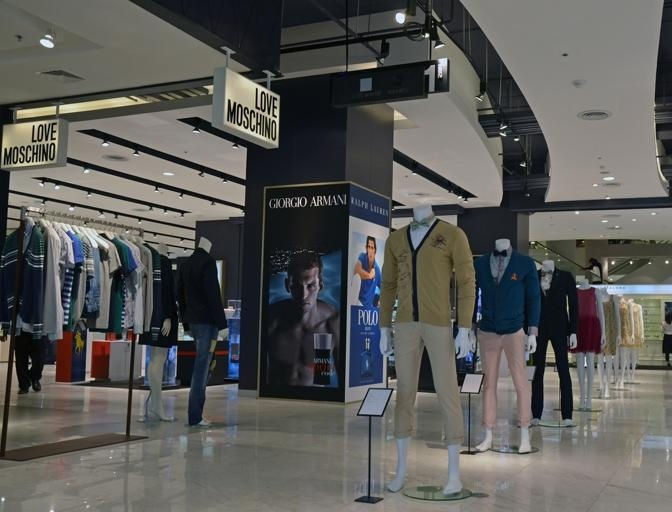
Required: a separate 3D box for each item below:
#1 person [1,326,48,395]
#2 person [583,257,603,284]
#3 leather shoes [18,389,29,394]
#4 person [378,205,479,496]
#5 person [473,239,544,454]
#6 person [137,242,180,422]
[{"bbox_3d":[-4.792,1.678,9.093,0.418,0.887,1.069,4,-9,-28],"label":"person"},{"bbox_3d":[9.447,0.537,21.297,0.391,1.342,0.481,-7,-22,43],"label":"person"},{"bbox_3d":[-4.712,2.046,8.766,0.139,0.070,0.057,-2,-2,11],"label":"leather shoes"},{"bbox_3d":[0.633,0.612,4.029,0.668,1.951,0.312,-2,-8,15],"label":"person"},{"bbox_3d":[1.555,0.800,5.286,0.604,1.879,0.552,-3,-8,19],"label":"person"},{"bbox_3d":[-1.945,0.839,6.390,0.407,1.910,0.690,2,-8,-18],"label":"person"}]
